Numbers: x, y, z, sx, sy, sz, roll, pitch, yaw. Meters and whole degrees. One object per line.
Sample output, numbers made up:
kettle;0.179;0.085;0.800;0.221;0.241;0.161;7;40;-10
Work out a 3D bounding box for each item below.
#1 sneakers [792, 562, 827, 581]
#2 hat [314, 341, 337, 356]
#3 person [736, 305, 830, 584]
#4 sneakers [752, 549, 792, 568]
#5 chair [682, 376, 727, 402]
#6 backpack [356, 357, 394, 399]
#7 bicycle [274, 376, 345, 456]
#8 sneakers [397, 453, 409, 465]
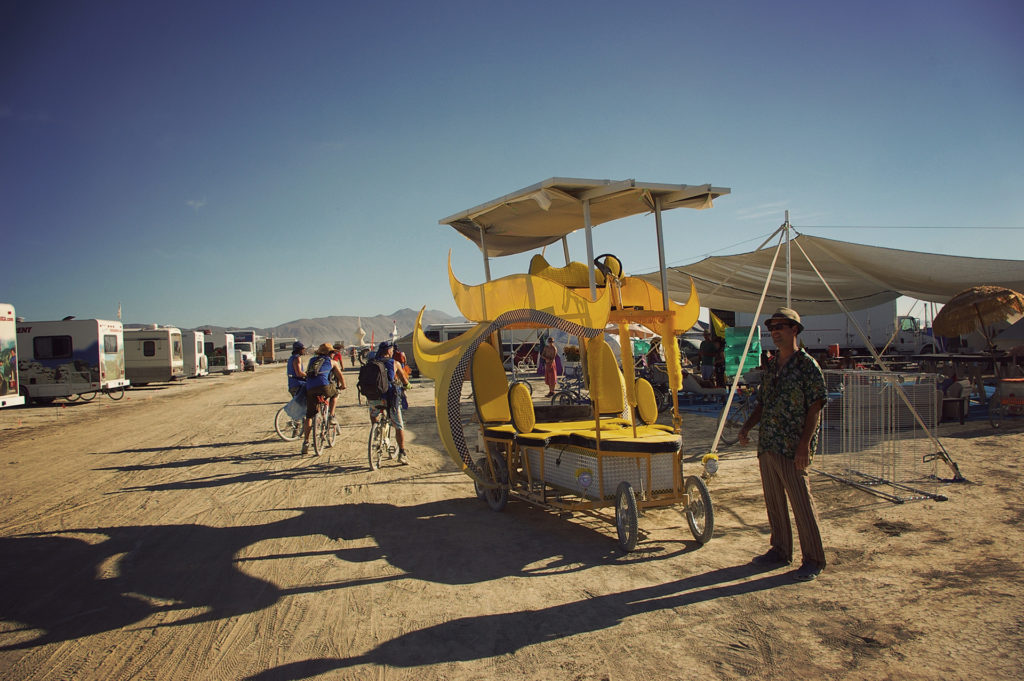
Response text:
sneakers;3.310;2.549;6.895;0.416;0.138;0.162;-3;8;-9
hat;-3.971;0.189;13.194;0.428;0.171;0.467;2;9;2
person;3.150;1.119;7.151;0.806;2.936;1.010;-2;8;1
sneakers;3.040;2.543;7.253;0.472;0.184;0.167;2;-10;2
chair;6.088;1.603;19.811;1.001;0.781;0.992;-5;1;9
backpack;-2.688;0.766;12.121;0.617;0.799;0.332;-3;8;-9
bicycle;-4.876;1.844;14.388;1.239;1.379;2.368;0;5;3
sneakers;-2.224;2.349;12.461;0.267;0.239;0.162;-4;4;-22
